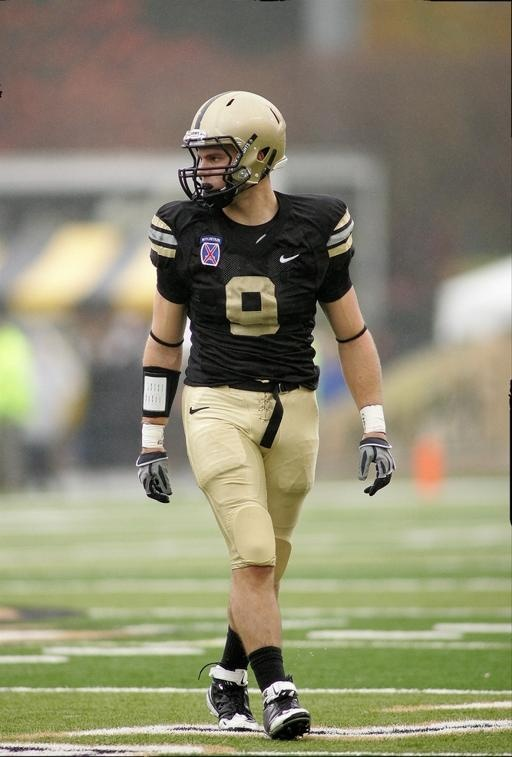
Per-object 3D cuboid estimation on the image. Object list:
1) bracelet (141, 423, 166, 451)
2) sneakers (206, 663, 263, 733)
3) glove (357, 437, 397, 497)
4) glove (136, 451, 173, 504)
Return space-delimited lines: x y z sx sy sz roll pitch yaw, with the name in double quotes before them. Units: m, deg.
"bracelet" -0.292 0.173 2.834 0.079 0.072 0.066 -7 81 32
"sneakers" -0.066 0.840 2.643 0.079 0.229 0.091 1 89 -15
"glove" 0.328 0.247 2.805 0.140 0.087 0.153 10 103 1
"glove" -0.286 0.279 2.793 0.130 0.060 0.126 -12 88 5
